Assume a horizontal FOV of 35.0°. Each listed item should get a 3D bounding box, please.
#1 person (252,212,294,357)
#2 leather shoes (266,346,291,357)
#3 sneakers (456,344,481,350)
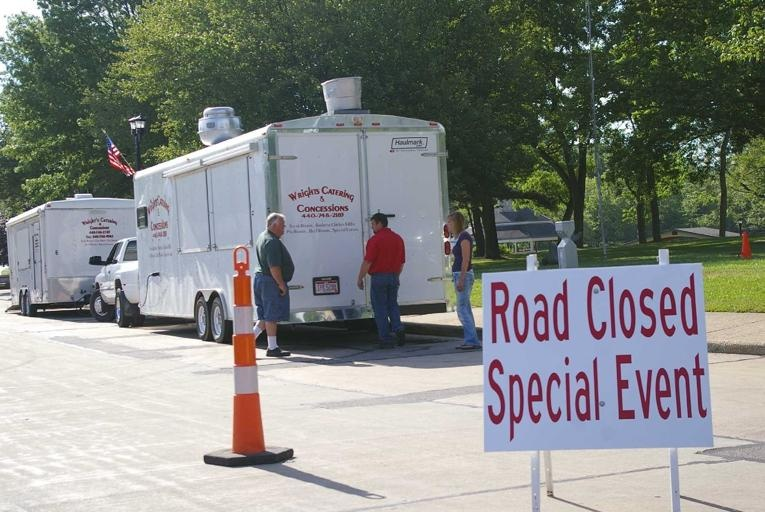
[{"bbox_3d":[-2.396,0.647,26.478,0.887,3.161,0.408,2,15,15],"label":"person"},{"bbox_3d":[-2.308,2.099,26.803,0.452,0.199,0.232,0,-2,-3],"label":"leather shoes"},{"bbox_3d":[1.888,1.970,26.613,0.473,0.177,0.169,1,-1,8],"label":"sneakers"}]
